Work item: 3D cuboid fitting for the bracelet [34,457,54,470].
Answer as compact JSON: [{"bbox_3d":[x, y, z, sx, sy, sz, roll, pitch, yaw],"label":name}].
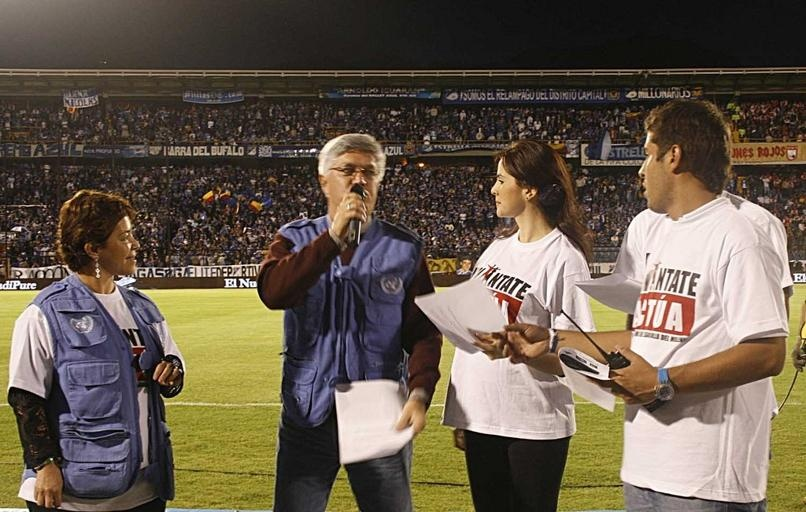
[{"bbox_3d":[-8.905,5.174,25.917,0.353,0.135,0.348,-36,1,-30],"label":"bracelet"}]
